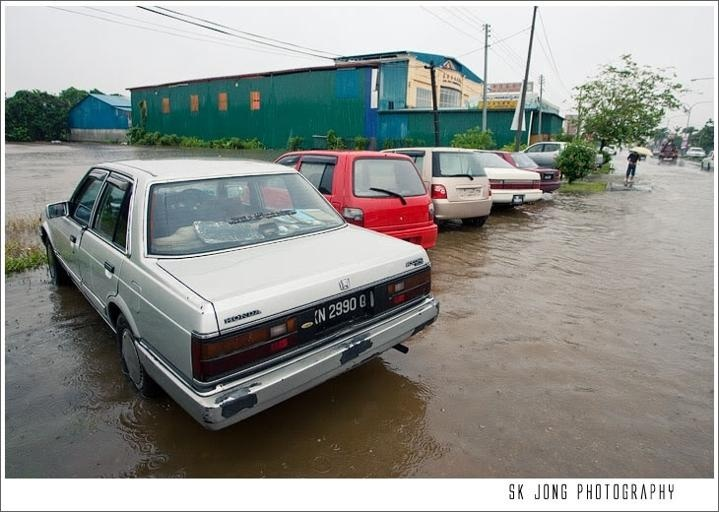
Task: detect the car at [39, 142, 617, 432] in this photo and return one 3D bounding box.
[{"bbox_3d":[-1.286,0.160,4.443,3.577,2.165,2.215,8,17,31],"label":"car"}]
